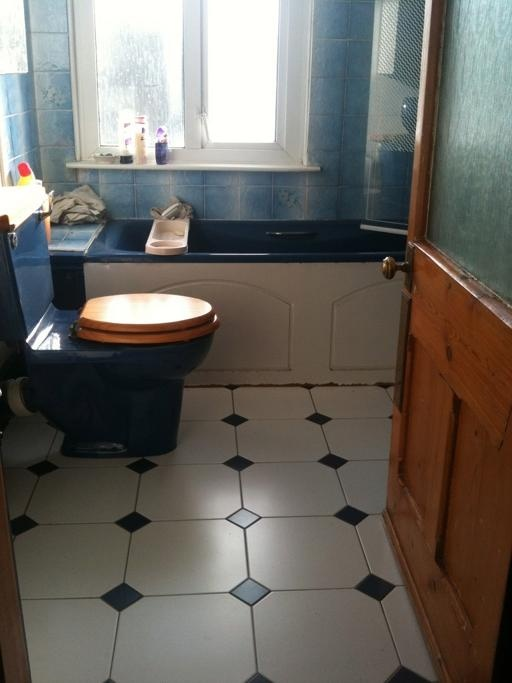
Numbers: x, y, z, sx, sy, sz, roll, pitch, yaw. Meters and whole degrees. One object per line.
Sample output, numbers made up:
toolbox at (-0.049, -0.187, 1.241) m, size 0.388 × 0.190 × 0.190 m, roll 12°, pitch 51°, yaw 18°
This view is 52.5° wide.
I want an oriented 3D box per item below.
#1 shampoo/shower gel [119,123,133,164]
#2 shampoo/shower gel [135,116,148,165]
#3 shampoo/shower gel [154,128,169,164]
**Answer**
shampoo/shower gel at (-0.671, -1.024, 2.676) m, size 0.059 × 0.197 × 0.083 m, roll -1°, pitch 21°, yaw -1°
shampoo/shower gel at (-0.604, -1.045, 2.698) m, size 0.054 × 0.220 × 0.084 m, roll 0°, pitch 21°, yaw 1°
shampoo/shower gel at (-0.495, -1.015, 2.698) m, size 0.061 × 0.178 × 0.066 m, roll -7°, pitch 22°, yaw -16°
